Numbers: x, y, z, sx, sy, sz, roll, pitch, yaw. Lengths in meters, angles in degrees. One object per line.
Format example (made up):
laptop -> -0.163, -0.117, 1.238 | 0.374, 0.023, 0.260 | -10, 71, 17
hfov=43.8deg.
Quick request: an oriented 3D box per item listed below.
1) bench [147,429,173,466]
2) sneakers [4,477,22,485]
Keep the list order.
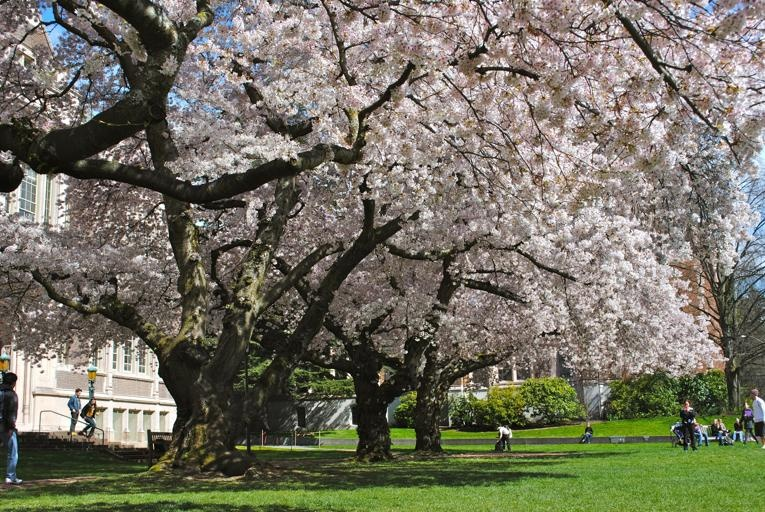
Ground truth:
bench -> -7.197, 6.086, 30.339 | 0.576, 1.192, 2.406 | 3, -17, -15
sneakers -> -9.424, 5.708, 24.163 | 0.439, 0.199, 0.186 | 3, 1, -23
